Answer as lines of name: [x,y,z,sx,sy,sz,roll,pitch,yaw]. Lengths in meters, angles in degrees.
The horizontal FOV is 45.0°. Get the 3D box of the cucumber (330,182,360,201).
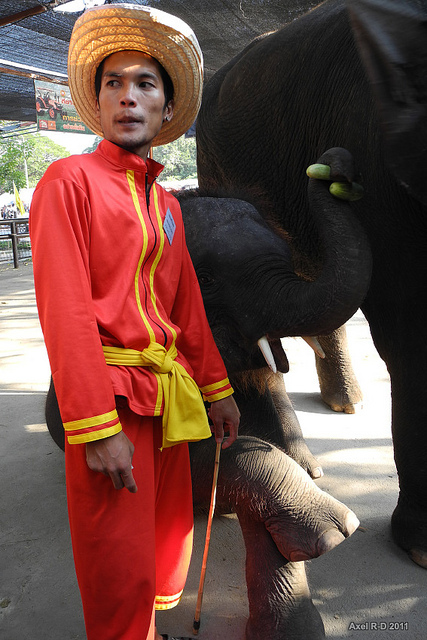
cucumber: [0.342,-0.341,1.362,0.073,0.034,0.039,23,-30,-10]

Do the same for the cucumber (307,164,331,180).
cucumber: [0.282,-0.400,1.380,0.065,0.028,0.032,4,-21,3]
